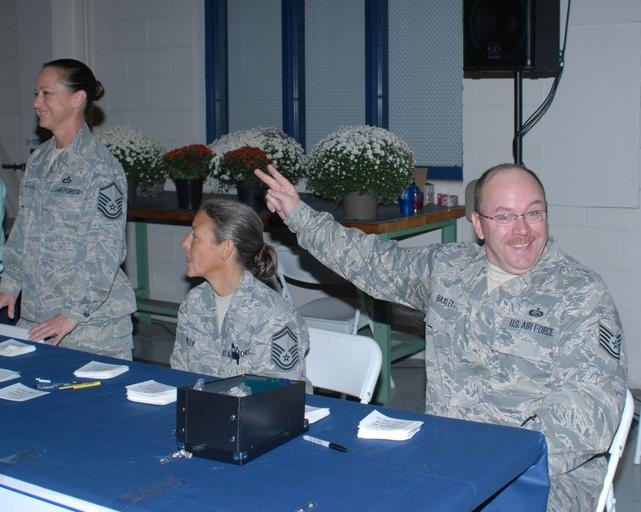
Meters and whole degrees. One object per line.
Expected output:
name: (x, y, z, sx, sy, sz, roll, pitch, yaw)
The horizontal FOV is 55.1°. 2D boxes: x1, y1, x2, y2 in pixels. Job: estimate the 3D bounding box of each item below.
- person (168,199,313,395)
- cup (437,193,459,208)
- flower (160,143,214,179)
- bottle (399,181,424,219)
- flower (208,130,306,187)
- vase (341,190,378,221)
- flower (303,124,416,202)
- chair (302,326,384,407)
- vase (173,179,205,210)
person: (-0.264, 0.141, 2.401, 0.595, 0.915, 0.669, 2, -4, -17)
cup: (0.879, -0.388, 4.216, 0.102, 0.063, 0.103, 0, 10, 0)
flower: (-0.896, -0.651, 4.228, 0.338, 0.235, 0.208, -4, 10, -14)
bottle: (0.585, -0.343, 3.801, 0.140, 0.222, 0.220, 0, 0, 15)
flower: (-0.405, -0.738, 4.322, 0.482, 0.316, 0.524, -6, 2, -18)
vase: (0.243, -0.297, 3.518, 0.168, 0.109, 0.171, -1, 5, -14)
flower: (0.247, -0.484, 3.535, 0.485, 0.359, 0.520, -1, 4, -7)
chair: (0.090, 0.330, 2.172, 0.255, 0.347, 0.252, 8, 7, 27)
vase: (-0.886, -0.432, 4.293, 0.201, 0.209, 0.213, 5, 13, 24)
